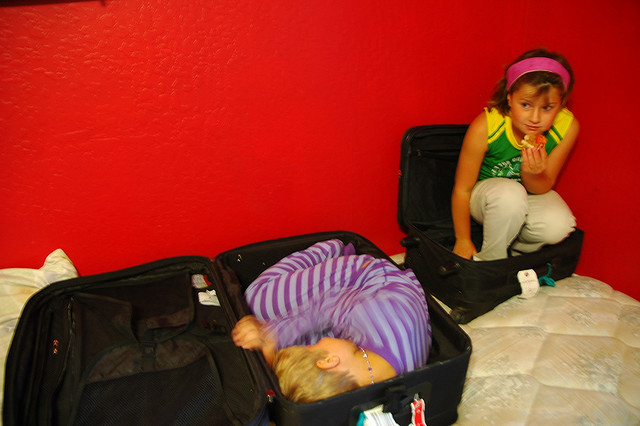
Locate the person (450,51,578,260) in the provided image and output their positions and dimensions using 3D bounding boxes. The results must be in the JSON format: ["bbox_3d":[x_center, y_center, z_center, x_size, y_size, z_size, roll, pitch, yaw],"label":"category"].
[{"bbox_3d":[0.855,-0.243,2.137,0.524,0.898,0.322,0,5,28],"label":"person"}]

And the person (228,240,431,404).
[{"bbox_3d":[0.066,0.413,1.867,0.613,0.271,0.856,-19,17,-1],"label":"person"}]

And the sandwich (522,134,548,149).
[{"bbox_3d":[0.916,-0.307,2.039,0.083,0.028,0.082,9,35,23],"label":"sandwich"}]

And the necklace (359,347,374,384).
[{"bbox_3d":[0.156,0.514,1.583,0.018,0.103,0.006,3,-36,-31],"label":"necklace"}]

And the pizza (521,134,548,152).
[{"bbox_3d":[0.914,-0.305,2.037,0.088,0.028,0.088,-43,63,-14],"label":"pizza"}]

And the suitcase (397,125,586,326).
[{"bbox_3d":[0.787,-0.028,2.231,0.780,0.749,0.704,-5,21,-8],"label":"suitcase"}]

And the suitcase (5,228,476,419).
[{"bbox_3d":[-0.312,0.471,1.729,1.242,0.339,0.760,-9,33,-16],"label":"suitcase"}]
